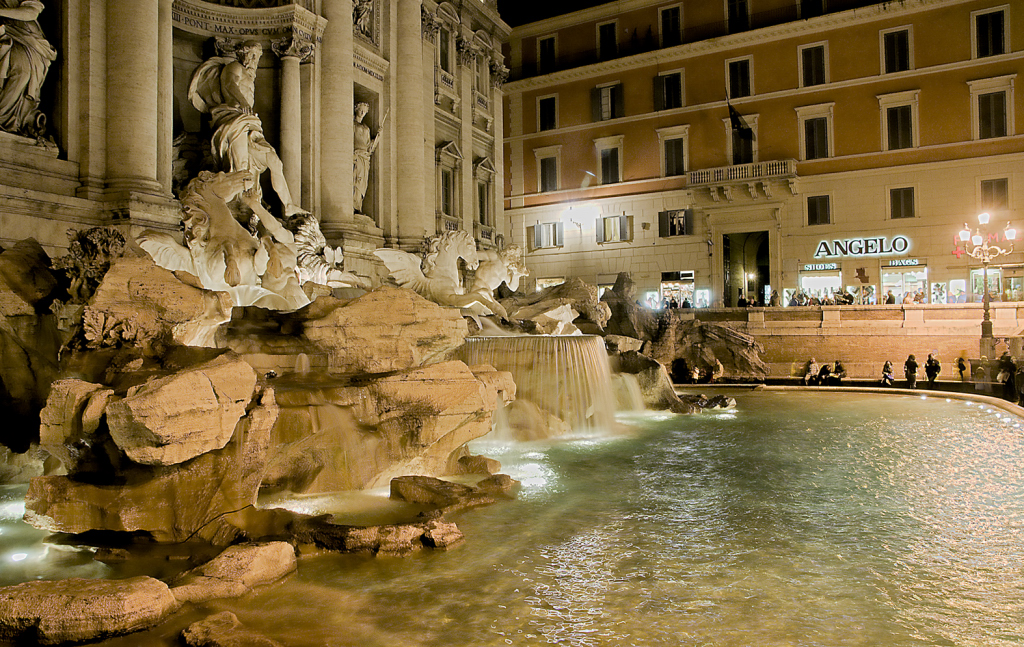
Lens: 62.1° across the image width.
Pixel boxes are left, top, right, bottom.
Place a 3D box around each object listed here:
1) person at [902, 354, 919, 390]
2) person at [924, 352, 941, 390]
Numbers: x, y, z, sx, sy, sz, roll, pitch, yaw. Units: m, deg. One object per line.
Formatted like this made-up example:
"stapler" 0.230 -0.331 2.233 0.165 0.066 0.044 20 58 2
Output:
"person" 11.880 1.532 25.577 0.315 0.997 1.248 7 13 25
"person" 12.601 1.412 25.806 0.308 0.956 1.576 7 13 26
